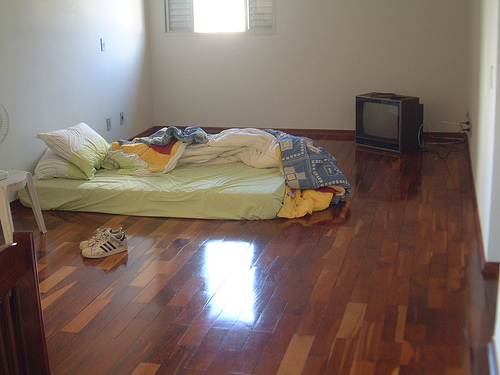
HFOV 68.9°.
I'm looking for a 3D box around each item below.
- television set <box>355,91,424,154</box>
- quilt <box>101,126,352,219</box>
[{"bbox_3d":[1.849,-0.898,4.897,0.517,0.687,0.691,-21,26,-33],"label":"television set"},{"bbox_3d":[-0.276,-0.285,4.181,2.510,0.665,1.956,5,11,6],"label":"quilt"}]
